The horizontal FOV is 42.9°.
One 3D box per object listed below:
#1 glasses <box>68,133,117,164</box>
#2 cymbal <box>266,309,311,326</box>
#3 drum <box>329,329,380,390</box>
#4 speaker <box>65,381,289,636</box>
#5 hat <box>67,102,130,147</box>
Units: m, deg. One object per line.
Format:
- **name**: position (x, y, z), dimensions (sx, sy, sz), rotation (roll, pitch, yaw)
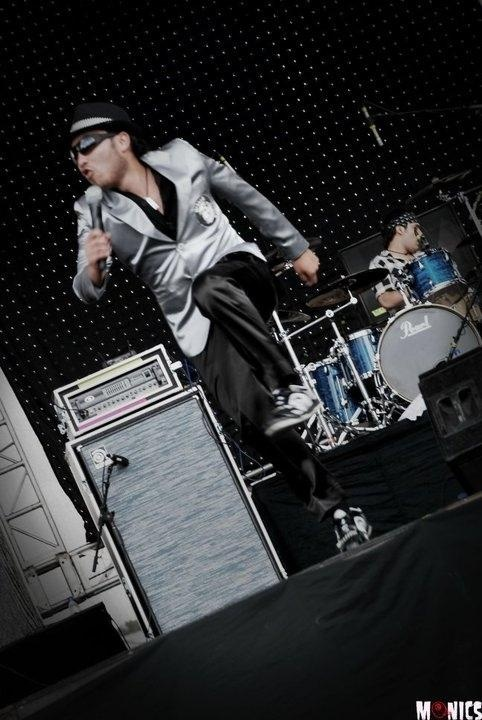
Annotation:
- **glasses**: position (-0.722, -1.043, 2.997), dimensions (0.178, 0.058, 0.152), rotation (-30, 6, -42)
- **cymbal**: position (0.330, -0.290, 4.005), dimensions (0.161, 0.040, 0.157), rotation (-5, -20, 10)
- **drum**: position (0.760, 0.000, 3.998), dimensions (0.300, 0.296, 0.299), rotation (-28, -14, 26)
- **speaker**: position (-0.252, 0.586, 2.399), dimensions (0.694, 0.917, 0.276), rotation (-25, -12, -4)
- **hat**: position (-0.707, -1.234, 3.096), dimensions (0.289, 0.101, 0.248), rotation (-7, -4, -43)
